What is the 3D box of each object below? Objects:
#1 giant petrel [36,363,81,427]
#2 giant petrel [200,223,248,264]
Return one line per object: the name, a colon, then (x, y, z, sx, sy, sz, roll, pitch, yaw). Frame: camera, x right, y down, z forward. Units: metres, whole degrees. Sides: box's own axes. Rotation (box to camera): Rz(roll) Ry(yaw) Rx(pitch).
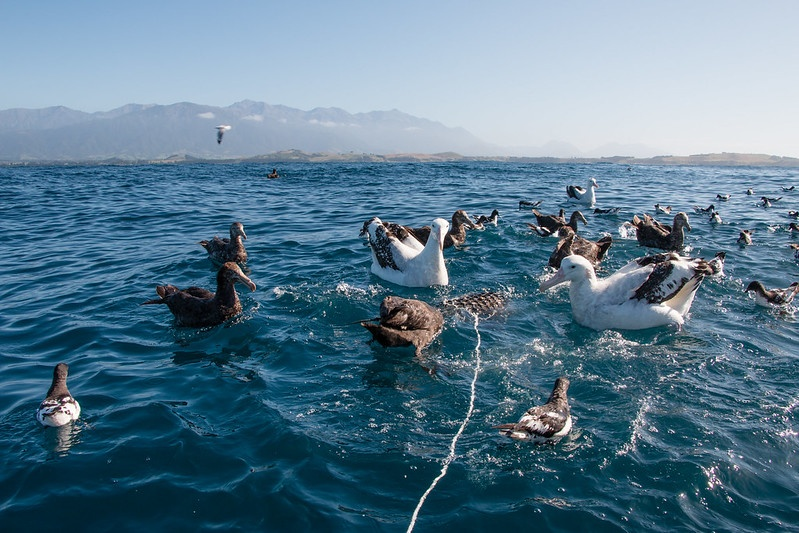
giant petrel: (-6.999, 2.699, 11.532, 0.734, 1.211, 1.856, 1, -4, -28)
giant petrel: (-5.851, -0.809, 19.577, 1.951, 1.247, 1.114, 28, 31, 31)
